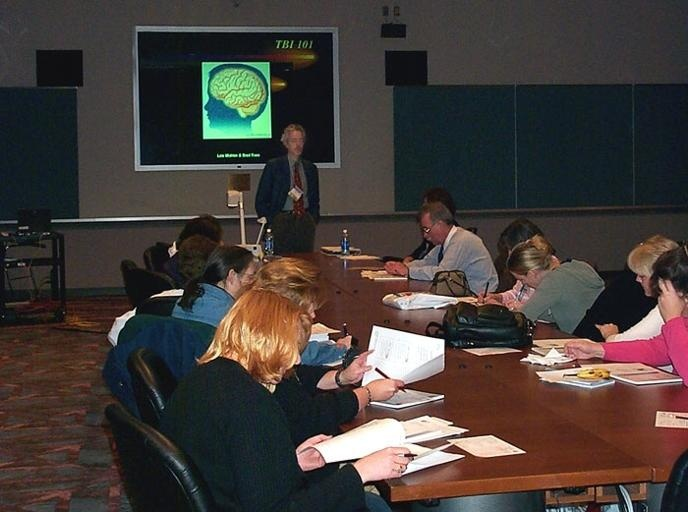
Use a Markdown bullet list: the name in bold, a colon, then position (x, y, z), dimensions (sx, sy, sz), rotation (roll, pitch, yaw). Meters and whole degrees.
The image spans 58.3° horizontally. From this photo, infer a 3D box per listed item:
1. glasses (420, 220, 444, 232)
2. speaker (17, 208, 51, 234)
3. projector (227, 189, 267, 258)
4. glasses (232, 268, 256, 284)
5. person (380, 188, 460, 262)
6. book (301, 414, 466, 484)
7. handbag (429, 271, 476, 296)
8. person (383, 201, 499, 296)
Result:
- **glasses**: position (0.724, -0.231, 4.910), dimensions (0.118, 0.041, 0.116), rotation (10, 0, -17)
- **speaker**: position (-3.614, -0.411, 7.204), dimensions (0.365, 0.278, 0.261), rotation (0, 6, -21)
- **projector**: position (-1.027, -0.340, 6.485), dimensions (0.414, 0.685, 0.213), rotation (-2, 7, -15)
- **glasses**: position (-0.471, 0.101, 2.953), dimensions (0.086, 0.070, 0.072), rotation (-1, -1, 4)
- **person**: position (0.800, -0.351, 6.412), dimensions (0.893, 1.068, 0.639), rotation (4, 9, 2)
- **book**: position (0.155, 0.566, 1.847), dimensions (0.314, 0.069, 0.246), rotation (-1, 9, -33)
- **handbag**: position (0.735, 0.199, 4.243), dimensions (0.178, 0.098, 0.245), rotation (1, 2, -19)
- **person**: position (0.831, 0.114, 5.057), dimensions (0.823, 1.063, 0.619), rotation (-8, 5, -7)
